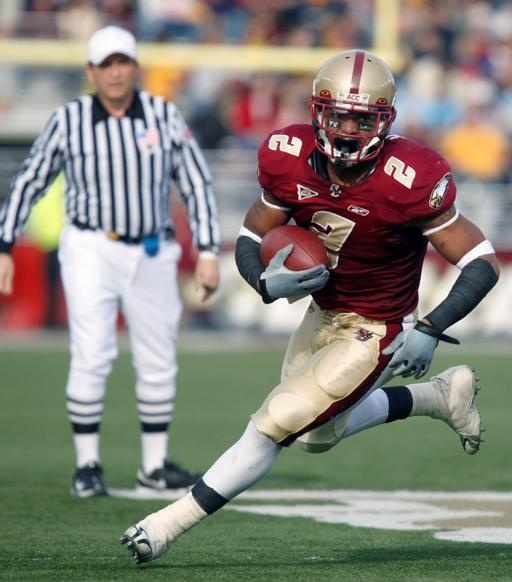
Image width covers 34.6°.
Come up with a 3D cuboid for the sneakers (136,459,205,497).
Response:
[{"bbox_3d":[-0.330,0.713,3.118,0.298,0.082,0.101,-1,15,-9],"label":"sneakers"}]

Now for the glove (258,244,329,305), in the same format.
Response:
[{"bbox_3d":[0.098,-0.069,2.321,0.254,0.151,0.191,-13,21,-35],"label":"glove"}]

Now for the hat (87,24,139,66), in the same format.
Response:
[{"bbox_3d":[-0.550,-0.920,3.101,0.188,0.155,0.163,-17,25,-33],"label":"hat"}]

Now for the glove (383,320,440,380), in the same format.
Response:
[{"bbox_3d":[0.408,0.156,2.226,0.135,0.166,0.073,42,-10,-33],"label":"glove"}]

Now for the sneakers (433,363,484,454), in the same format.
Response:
[{"bbox_3d":[0.758,0.398,2.779,0.153,0.340,0.169,-4,40,39],"label":"sneakers"}]

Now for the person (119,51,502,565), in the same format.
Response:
[{"bbox_3d":[0.264,-0.017,2.222,0.766,1.145,0.909,10,29,0],"label":"person"}]

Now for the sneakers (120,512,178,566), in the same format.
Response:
[{"bbox_3d":[-0.263,0.615,2.068,0.088,0.093,0.150,24,31,26],"label":"sneakers"}]
